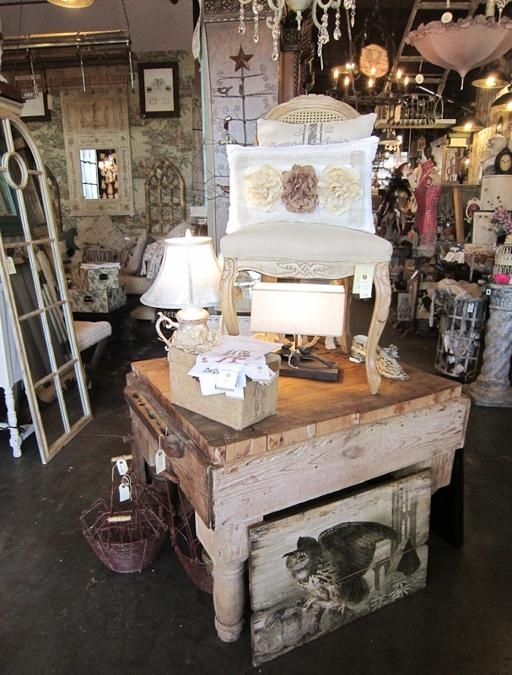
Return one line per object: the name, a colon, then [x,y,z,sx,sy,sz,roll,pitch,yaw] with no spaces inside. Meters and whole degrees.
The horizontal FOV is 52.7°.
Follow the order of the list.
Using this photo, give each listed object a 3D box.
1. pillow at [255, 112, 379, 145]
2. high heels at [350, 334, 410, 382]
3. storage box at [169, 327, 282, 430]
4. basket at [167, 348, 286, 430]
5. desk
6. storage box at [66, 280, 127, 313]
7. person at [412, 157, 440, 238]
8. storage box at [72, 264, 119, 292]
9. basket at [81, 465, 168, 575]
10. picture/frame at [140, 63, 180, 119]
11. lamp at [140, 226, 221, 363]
pillow: [0.240,-0.821,2.031,0.361,0.049,0.224,0,60,12]
high heels: [0.442,0.075,1.870,0.092,0.091,0.239,-6,14,-26]
storage box: [-0.085,0.069,1.399,0.211,0.176,0.379,-11,19,-40]
basket: [-0.092,0.069,1.400,0.373,0.180,0.209,16,20,42]
desk: [0.072,0.242,1.662,0.841,0.576,0.938,-2,8,-20]
storage box: [-1.261,-0.294,4.099,0.270,0.173,0.369,0,11,0]
person: [1.469,-1.170,4.469,0.202,0.682,0.340,4,23,17]
storage box: [-1.250,-0.471,4.071,0.366,0.218,0.243,-9,22,-17]
basket: [-0.450,0.648,1.807,0.337,0.385,0.321,-5,15,-14]
picture/frame: [-1.156,-3.039,6.301,0.675,0.749,0.059,0,16,0]
lamp: [-0.230,-0.130,1.774,0.402,0.452,0.364,0,3,-7]
